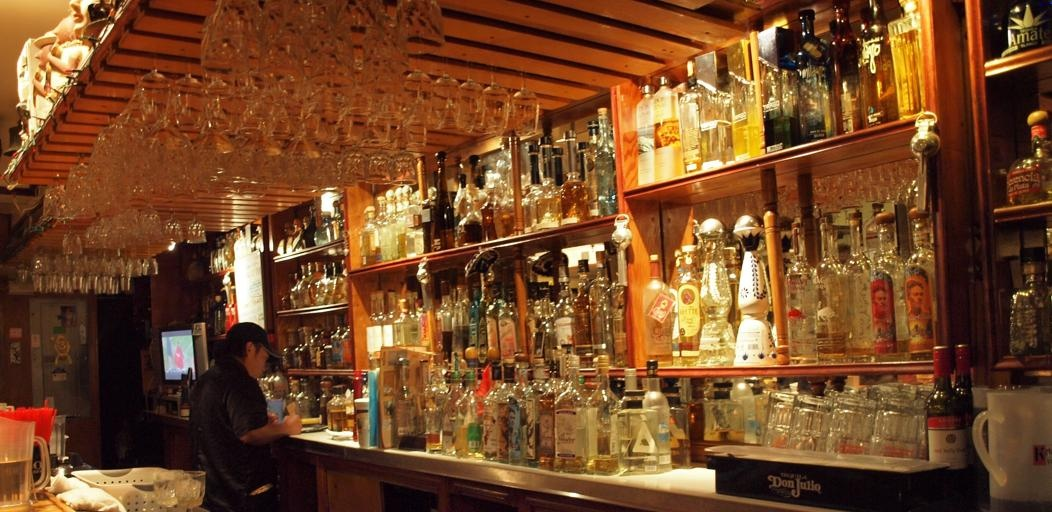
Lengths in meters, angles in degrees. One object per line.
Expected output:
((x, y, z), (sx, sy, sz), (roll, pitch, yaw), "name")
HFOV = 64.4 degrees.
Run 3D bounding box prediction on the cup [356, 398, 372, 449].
((-1.242, 1.268, 6.370), (0.105, 0.360, 0.166), (0, -12, -13), "cup")
